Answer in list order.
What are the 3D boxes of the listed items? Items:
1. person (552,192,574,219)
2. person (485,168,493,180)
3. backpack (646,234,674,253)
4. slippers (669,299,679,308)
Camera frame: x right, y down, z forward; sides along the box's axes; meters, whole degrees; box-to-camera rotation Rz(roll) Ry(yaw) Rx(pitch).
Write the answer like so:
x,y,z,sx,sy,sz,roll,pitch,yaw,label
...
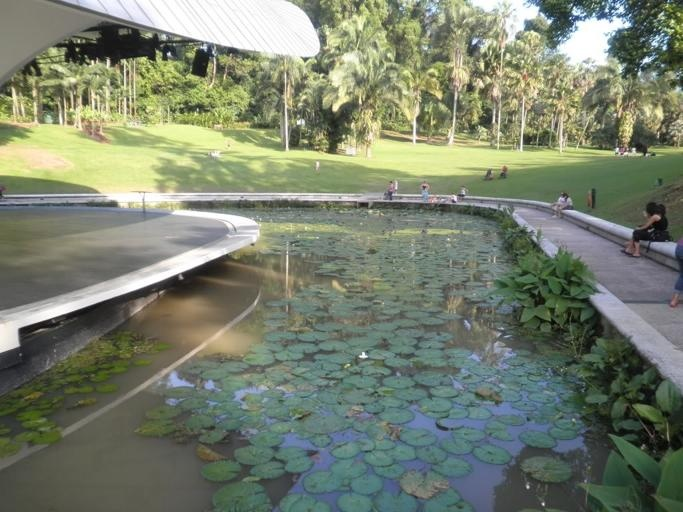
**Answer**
x,y,z,sx,sy,sz,roll,pitch,yaw,label
8.199,-1.889,16.191,0.537,0.857,1.453,5,15,20,person
10.214,-5.516,30.245,0.540,0.637,1.125,5,15,17,person
5.947,-0.214,8.174,0.415,0.337,0.355,4,15,17,backpack
4.239,0.572,5.543,0.272,0.100,0.080,0,3,-44,slippers
